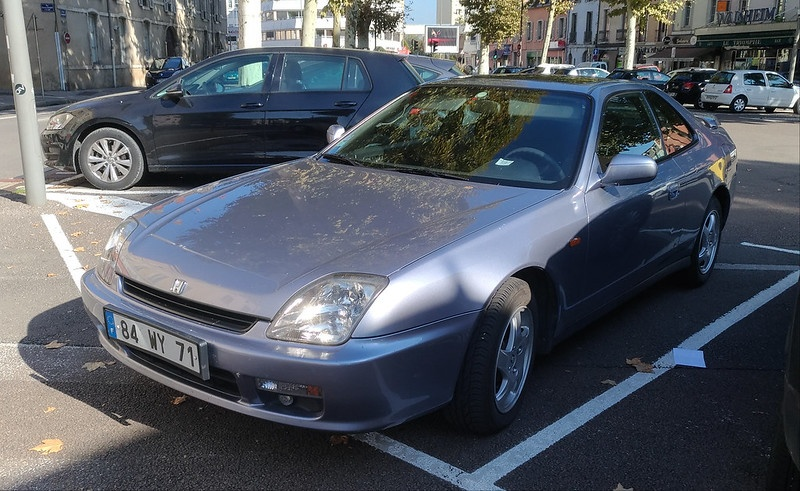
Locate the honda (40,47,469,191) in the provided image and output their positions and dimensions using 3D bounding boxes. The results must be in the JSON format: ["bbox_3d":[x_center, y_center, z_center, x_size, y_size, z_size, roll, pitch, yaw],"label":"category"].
[{"bbox_3d":[-2.597,-2.211,8.765,6.233,2.054,2.736,1,11,-5],"label":"honda"}]

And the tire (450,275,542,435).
[{"bbox_3d":[0.552,0.650,2.973,0.226,0.717,0.714,15,50,24],"label":"tire"}]

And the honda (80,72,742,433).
[{"bbox_3d":[0.298,-0.152,3.661,4.504,2.210,1.896,-12,19,-33],"label":"honda"}]

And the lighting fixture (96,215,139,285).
[{"bbox_3d":[-1.857,0.035,3.227,0.297,0.427,0.128,28,1,41],"label":"lighting fixture"}]

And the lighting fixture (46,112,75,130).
[{"bbox_3d":[-5.473,-2.013,7.972,0.563,0.254,0.186,7,18,27],"label":"lighting fixture"}]

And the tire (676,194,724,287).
[{"bbox_3d":[2.924,-0.077,4.887,0.280,0.865,0.867,9,13,44],"label":"tire"}]

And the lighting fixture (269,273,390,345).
[{"bbox_3d":[-0.378,0.329,2.594,0.607,0.314,0.192,-1,16,1],"label":"lighting fixture"}]

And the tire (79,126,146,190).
[{"bbox_3d":[-4.588,-1.461,7.939,0.958,0.962,0.311,-4,0,2],"label":"tire"}]
